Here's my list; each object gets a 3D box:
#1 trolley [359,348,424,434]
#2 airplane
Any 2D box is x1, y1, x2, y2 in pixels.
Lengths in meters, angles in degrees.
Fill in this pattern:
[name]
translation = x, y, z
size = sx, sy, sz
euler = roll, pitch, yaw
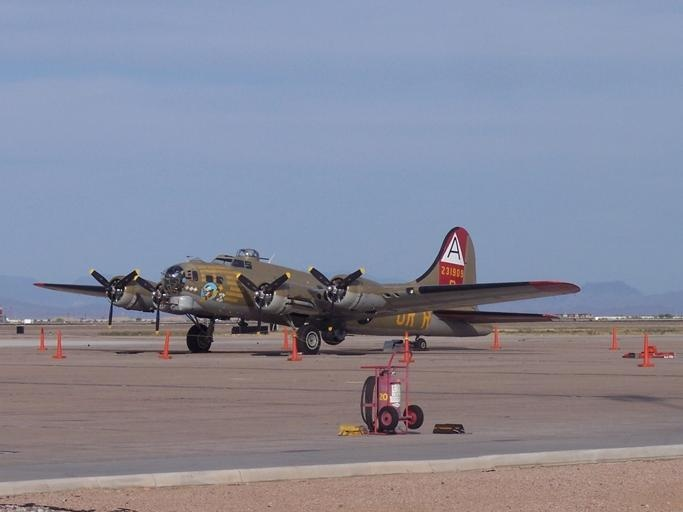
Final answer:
[trolley]
translation = 0.810, 2.530, 19.832
size = 1.157, 1.258, 0.947
euler = -6, -10, 41
[airplane]
translation = -1.039, 1.807, 41.670
size = 15.591, 4.055, 9.322
euler = 1, -2, -10
